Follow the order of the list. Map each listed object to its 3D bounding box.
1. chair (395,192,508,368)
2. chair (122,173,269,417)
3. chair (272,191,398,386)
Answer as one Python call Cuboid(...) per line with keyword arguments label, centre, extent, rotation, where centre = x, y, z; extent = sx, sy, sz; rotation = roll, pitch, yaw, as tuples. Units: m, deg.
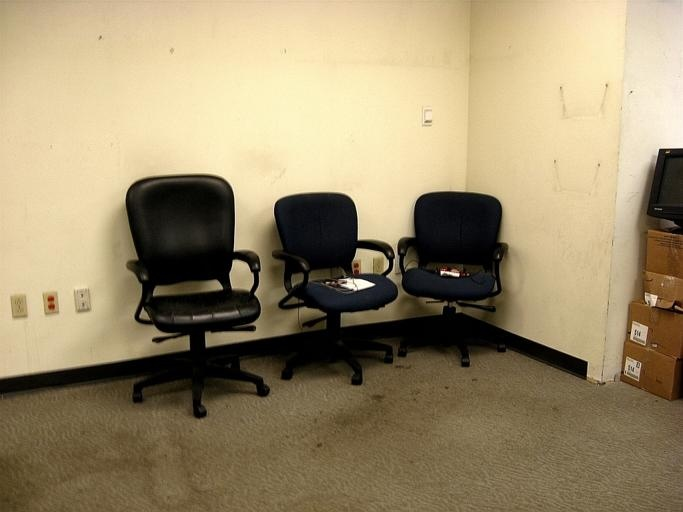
Cuboid(label="chair", centre=(0.790, 0.151, 3.906), extent=(0.748, 1.100, 0.728), rotation=(-1, 11, 1))
Cuboid(label="chair", centre=(-0.915, 0.199, 3.426), extent=(0.808, 1.369, 0.718), rotation=(-6, 11, -20))
Cuboid(label="chair", centre=(-0.032, 0.200, 3.687), extent=(0.734, 1.175, 0.762), rotation=(-5, 11, -21))
